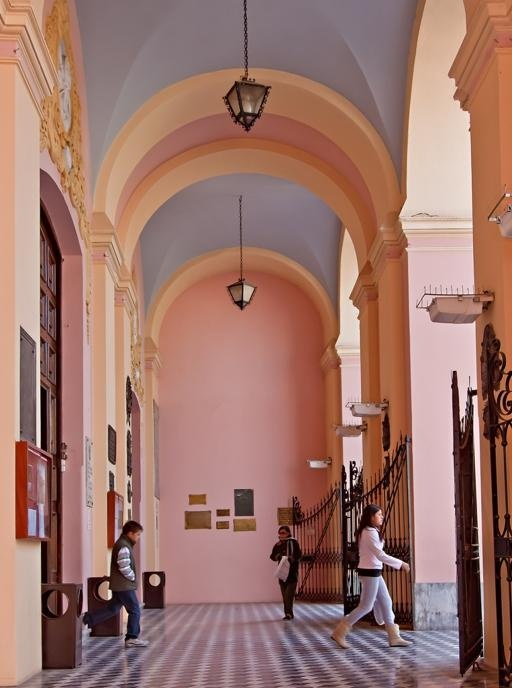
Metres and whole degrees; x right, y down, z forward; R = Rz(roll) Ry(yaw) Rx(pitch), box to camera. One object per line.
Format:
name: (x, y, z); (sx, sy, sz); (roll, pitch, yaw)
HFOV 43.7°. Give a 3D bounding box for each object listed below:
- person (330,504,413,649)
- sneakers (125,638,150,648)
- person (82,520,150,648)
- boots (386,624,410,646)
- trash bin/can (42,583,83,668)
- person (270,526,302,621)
person: (1.225, 2.433, 6.741); (0.741, 1.429, 1.522); (-5, -12, 13)
sneakers: (-1.233, 3.098, 6.613); (0.243, 0.102, 0.224); (1, -15, -21)
person: (-1.501, 2.608, 6.928); (0.607, 1.318, 0.973); (1, -12, -16)
boots: (1.396, 2.843, 6.274); (0.229, 0.210, 0.268); (-4, -13, 2)
trash bin/can: (-1.567, 2.269, 5.197); (0.289, 0.694, 0.322); (5, -9, -31)
person: (0.482, 3.752, 10.469); (0.347, 1.462, 0.424); (-12, -37, 16)
